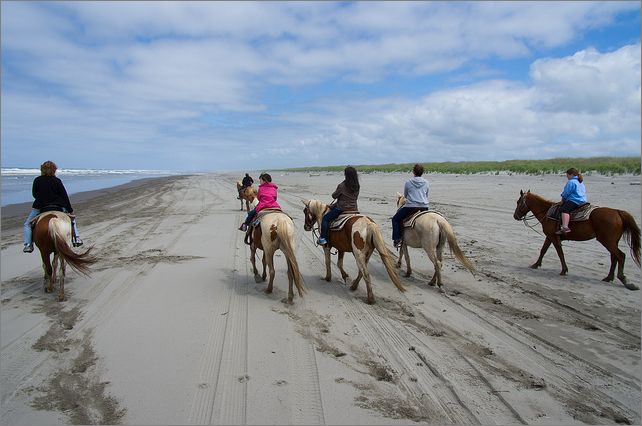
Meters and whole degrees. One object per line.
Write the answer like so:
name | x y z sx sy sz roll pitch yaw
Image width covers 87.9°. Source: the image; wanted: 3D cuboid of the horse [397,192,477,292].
horse | 3.290 0.969 9.741 0.750 2.075 2.081 -9 13 -39

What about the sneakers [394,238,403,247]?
sneakers | 2.425 0.906 10.197 0.182 0.101 0.254 -18 -21 -29

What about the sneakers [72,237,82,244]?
sneakers | -7.376 0.816 9.972 0.132 0.176 0.414 -8 3 -40

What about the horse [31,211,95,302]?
horse | -7.063 1.018 8.985 1.821 2.092 0.985 8 14 42
